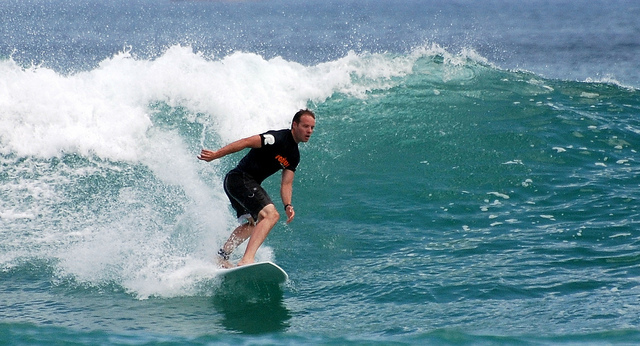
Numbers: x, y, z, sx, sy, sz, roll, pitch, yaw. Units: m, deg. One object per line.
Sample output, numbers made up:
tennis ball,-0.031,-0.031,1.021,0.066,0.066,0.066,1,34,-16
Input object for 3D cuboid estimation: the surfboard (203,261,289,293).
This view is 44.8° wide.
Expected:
surfboard,-2.145,3.192,23.712,3.457,0.723,0.547,2,8,29

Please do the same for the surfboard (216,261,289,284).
surfboard,-1.998,3.029,23.711,2.011,0.862,0.161,-1,29,-3
